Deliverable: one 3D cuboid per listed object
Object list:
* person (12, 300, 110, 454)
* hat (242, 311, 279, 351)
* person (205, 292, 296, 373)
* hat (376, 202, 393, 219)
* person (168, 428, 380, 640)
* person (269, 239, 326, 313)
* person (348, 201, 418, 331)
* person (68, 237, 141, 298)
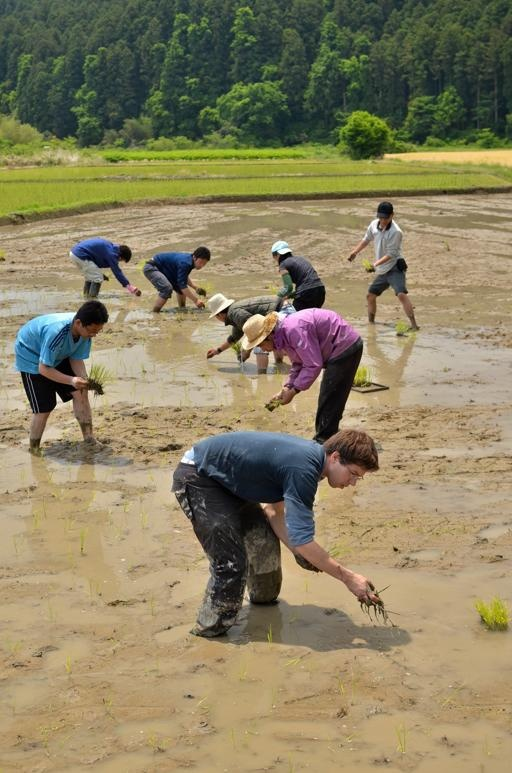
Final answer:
[{"bbox_3d":[-1.432,-0.063,6.763,0.623,1.189,0.897,-3,12,-15],"label":"person"},{"bbox_3d":[0.053,-0.393,5.762,0.097,0.274,0.251,41,-22,-7],"label":"hat"},{"bbox_3d":[0.012,-0.541,9.050,1.077,0.773,0.411,-8,12,4],"label":"person"},{"bbox_3d":[1.418,-1.948,10.213,0.187,0.152,0.278,6,27,17],"label":"hat"},{"bbox_3d":[0.071,0.715,4.437,0.682,1.095,0.889,-6,13,-25],"label":"person"},{"bbox_3d":[0.426,-1.065,8.894,0.384,0.630,0.796,-3,11,-13],"label":"person"},{"bbox_3d":[1.587,-1.482,11.242,0.845,1.535,2.170,1,11,8],"label":"person"},{"bbox_3d":[-1.928,-1.522,12.033,0.826,0.683,1.075,-8,39,-35],"label":"person"}]
